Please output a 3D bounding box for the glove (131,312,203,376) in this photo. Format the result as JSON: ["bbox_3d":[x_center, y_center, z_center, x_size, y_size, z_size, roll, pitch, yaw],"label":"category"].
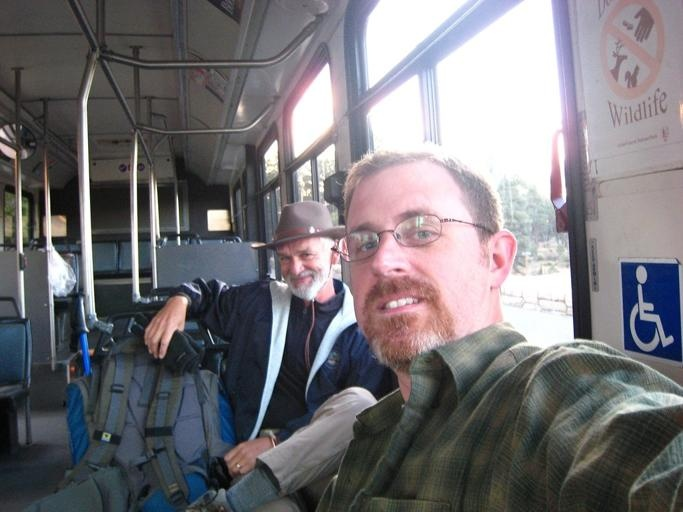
[{"bbox_3d":[-0.879,0.458,2.674,0.317,0.237,0.127,33,1,20],"label":"glove"}]

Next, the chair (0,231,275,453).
[{"bbox_3d":[-2.139,1.052,5.979,2.874,3.136,1.630,-1,1,-11],"label":"chair"}]

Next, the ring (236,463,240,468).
[{"bbox_3d":[-0.462,0.942,2.322,0.005,0.017,0.016,12,-7,41],"label":"ring"}]

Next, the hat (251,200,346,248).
[{"bbox_3d":[-0.341,-0.241,3.898,0.565,0.269,0.700,-13,-9,13],"label":"hat"}]
